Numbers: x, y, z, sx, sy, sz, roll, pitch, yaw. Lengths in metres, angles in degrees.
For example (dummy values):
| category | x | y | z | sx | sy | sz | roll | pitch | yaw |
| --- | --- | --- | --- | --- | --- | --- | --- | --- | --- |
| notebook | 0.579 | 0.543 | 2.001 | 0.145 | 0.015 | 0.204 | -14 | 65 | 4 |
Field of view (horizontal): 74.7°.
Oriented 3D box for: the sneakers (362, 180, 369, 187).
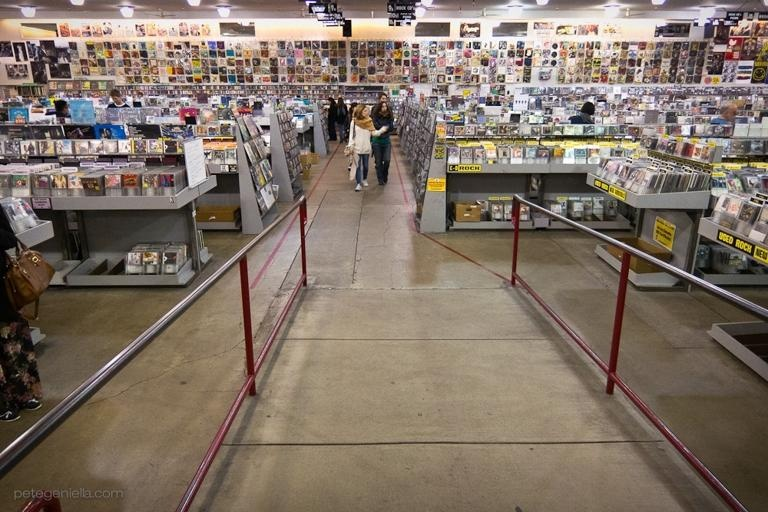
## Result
| category | x | y | z | sx | sy | sz | roll | pitch | yaw |
| --- | --- | --- | --- | --- | --- | --- | --- | --- | --- |
| sneakers | -0.387 | -1.537 | 10.826 | 0.085 | 0.089 | 0.236 | -3 | 16 | -5 |

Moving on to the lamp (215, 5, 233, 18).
| category | x | y | z | sx | sy | sz | roll | pitch | yaw |
| --- | --- | --- | --- | --- | --- | --- | --- | --- | --- |
| lamp | -5.396 | -8.194 | 16.954 | 0.488 | 0.299 | 0.495 | 16 | 28 | 41 |

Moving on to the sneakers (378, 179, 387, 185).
| category | x | y | z | sx | sy | sz | roll | pitch | yaw |
| --- | --- | --- | --- | --- | --- | --- | --- | --- | --- |
| sneakers | -0.028 | -1.562 | 10.712 | 0.137 | 0.122 | 0.047 | 1 | -3 | -3 |
